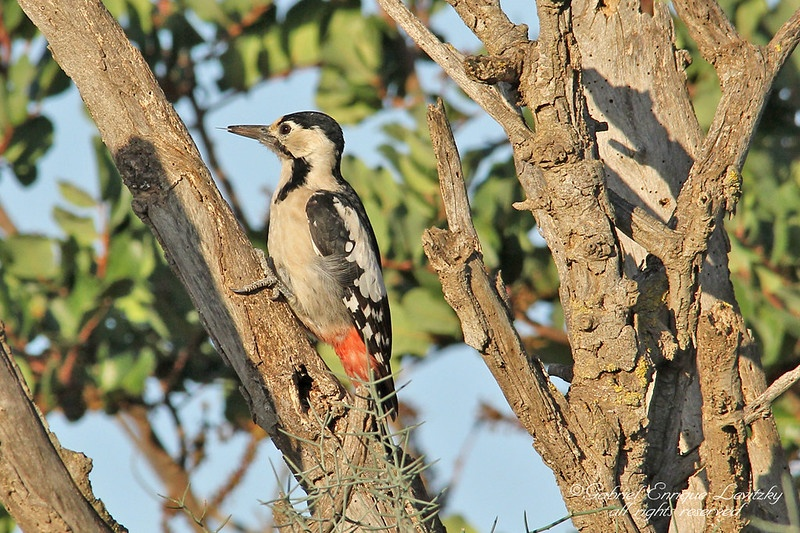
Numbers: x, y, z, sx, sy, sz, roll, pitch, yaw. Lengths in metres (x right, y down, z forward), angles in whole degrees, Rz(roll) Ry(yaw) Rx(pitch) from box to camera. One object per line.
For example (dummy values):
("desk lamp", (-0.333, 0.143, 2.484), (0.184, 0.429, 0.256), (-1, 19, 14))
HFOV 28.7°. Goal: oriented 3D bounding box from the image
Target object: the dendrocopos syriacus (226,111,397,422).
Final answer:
("dendrocopos syriacus", (-0.494, 0.021, 9.130), (1.063, 1.750, 0.687), (7, -8, -28))
